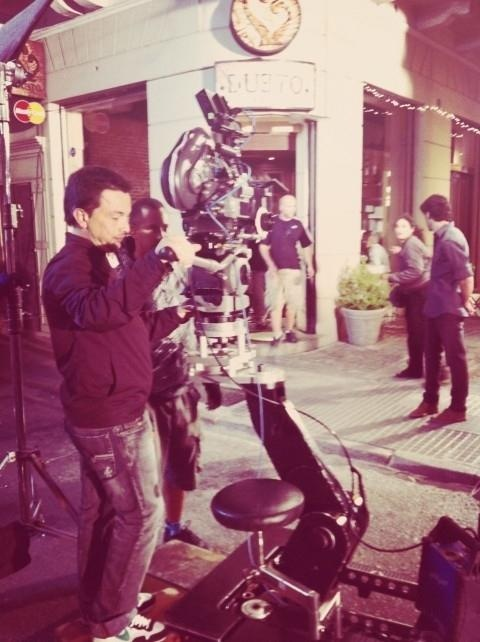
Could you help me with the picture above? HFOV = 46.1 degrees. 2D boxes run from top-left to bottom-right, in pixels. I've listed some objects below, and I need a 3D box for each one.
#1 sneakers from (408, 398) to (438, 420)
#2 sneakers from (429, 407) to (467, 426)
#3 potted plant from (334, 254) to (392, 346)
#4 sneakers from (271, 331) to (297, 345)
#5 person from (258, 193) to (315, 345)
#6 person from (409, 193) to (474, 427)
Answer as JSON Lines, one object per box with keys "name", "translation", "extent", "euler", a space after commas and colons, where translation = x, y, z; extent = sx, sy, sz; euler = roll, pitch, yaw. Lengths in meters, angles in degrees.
{"name": "sneakers", "translation": [1.503, 0.744, 4.775], "extent": [0.306, 0.202, 0.116], "euler": [-2, 7, 1]}
{"name": "sneakers", "translation": [1.680, 0.783, 4.617], "extent": [0.348, 0.146, 0.128], "euler": [-9, 4, 7]}
{"name": "potted plant", "translation": [1.741, -0.080, 8.012], "extent": [0.593, 0.823, 0.623], "euler": [-4, 1, 37]}
{"name": "sneakers", "translation": [0.608, 0.231, 7.699], "extent": [0.436, 0.174, 0.150], "euler": [2, -6, -36]}
{"name": "person", "translation": [0.638, -0.670, 7.600], "extent": [0.535, 1.976, 0.901], "euler": [6, 7, 32]}
{"name": "person", "translation": [1.682, -0.102, 4.607], "extent": [0.338, 1.887, 0.588], "euler": [-1, 7, -25]}
